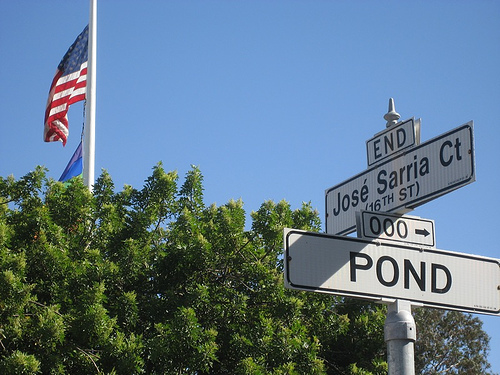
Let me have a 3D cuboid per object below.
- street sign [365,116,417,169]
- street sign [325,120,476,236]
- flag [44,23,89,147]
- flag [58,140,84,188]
[{"bbox_3d":[2.615,-0.711,20.192,1.217,0.832,0.058,-24,-37,26],"label":"street sign"},{"bbox_3d":[2.809,-0.137,20.120,1.963,0.727,0.085,-22,-23,22],"label":"street sign"},{"bbox_3d":[-5.480,-3.200,34.506,1.101,3.965,1.655,4,-10,2],"label":"flag"},{"bbox_3d":[-5.175,-0.826,34.627,1.022,0.217,1.955,-16,-36,-32],"label":"flag"}]
